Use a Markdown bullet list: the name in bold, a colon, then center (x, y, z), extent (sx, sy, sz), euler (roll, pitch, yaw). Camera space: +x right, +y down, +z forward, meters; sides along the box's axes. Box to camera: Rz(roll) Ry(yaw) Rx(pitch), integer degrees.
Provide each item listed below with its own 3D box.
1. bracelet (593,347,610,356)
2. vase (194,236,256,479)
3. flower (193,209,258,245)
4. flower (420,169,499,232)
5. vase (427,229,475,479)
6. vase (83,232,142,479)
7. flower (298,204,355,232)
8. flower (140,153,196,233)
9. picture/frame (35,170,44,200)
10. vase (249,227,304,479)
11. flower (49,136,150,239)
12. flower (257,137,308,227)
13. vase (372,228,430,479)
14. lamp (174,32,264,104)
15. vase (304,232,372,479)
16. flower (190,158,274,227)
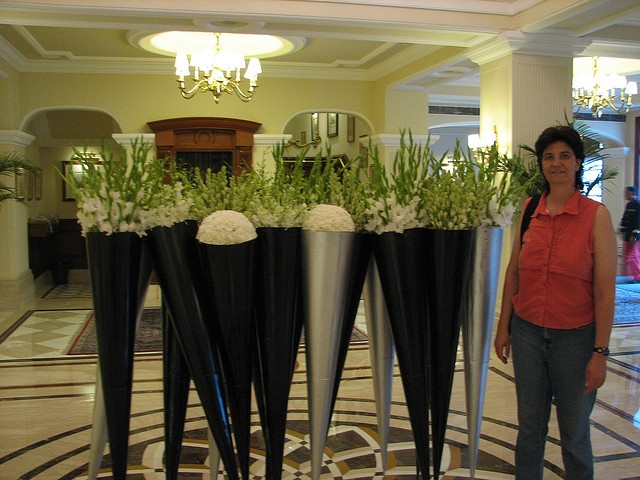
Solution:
- **bracelet**: center (1.350, 0.532, 2.209), extent (0.064, 0.028, 0.055), euler (-4, -9, 35)
- **vase**: center (-0.319, 0.469, 1.751), extent (0.202, 0.958, 0.134), euler (-4, 11, -12)
- **flower**: center (-0.332, -0.044, 1.650), extent (0.163, 0.117, 0.137), euler (6, 12, 40)
- **flower**: center (0.508, -0.136, 1.756), extent (0.280, 0.187, 0.275), euler (0, 0, 40)
- **vase**: center (0.497, 0.465, 1.843), extent (0.171, 1.026, 0.089), euler (-9, 13, -35)
- **vase**: center (-0.731, 0.447, 1.782), extent (0.233, 0.977, 0.134), euler (-8, 12, -30)
- **flower**: center (0.034, -0.076, 1.695), extent (0.140, 0.039, 0.130), euler (9, 14, 30)
- **flower**: center (-0.571, -0.174, 1.808), extent (0.237, 0.237, 0.204), euler (7, -3, -26)
- **picture/frame**: center (-6.209, -1.211, 10.175), extent (0.162, 0.688, 0.756), euler (-6, 10, -25)
- **vase**: center (-0.137, 0.450, 1.751), extent (0.181, 1.001, 0.104), euler (-6, 12, -21)
- **flower**: center (-0.772, -0.178, 1.665), extent (0.340, 0.346, 0.365), euler (-3, 9, -10)
- **flower**: center (-0.123, -0.190, 1.912), extent (0.263, 0.352, 0.208), euler (-2, 14, -15)
- **vase**: center (0.326, 0.467, 1.843), extent (0.222, 1.032, 0.102), euler (0, 11, 5)
- **lamp**: center (-1.694, -2.837, 7.493), extent (1.187, 1.044, 1.062), euler (20, 30, 31)
- **vase**: center (0.082, 0.449, 1.839), extent (0.132, 1.002, 0.318), euler (8, 14, 40)
- **flower**: center (-0.398, -0.202, 1.928), extent (0.383, 0.293, 0.296), euler (-1, 8, -16)
